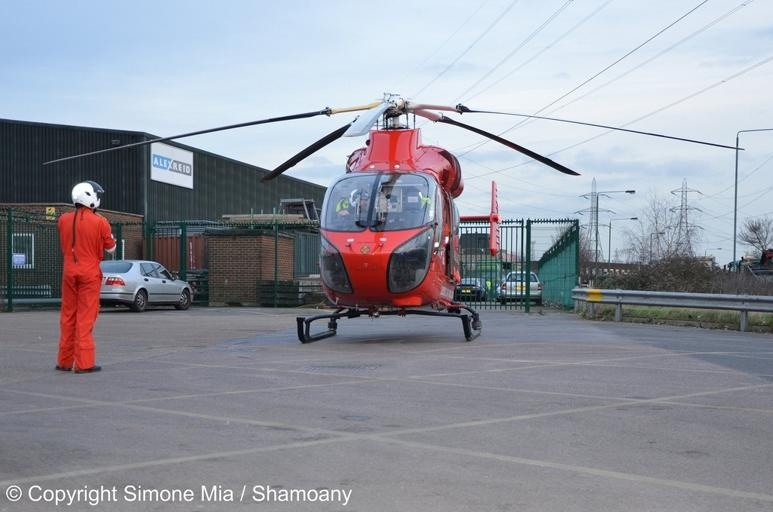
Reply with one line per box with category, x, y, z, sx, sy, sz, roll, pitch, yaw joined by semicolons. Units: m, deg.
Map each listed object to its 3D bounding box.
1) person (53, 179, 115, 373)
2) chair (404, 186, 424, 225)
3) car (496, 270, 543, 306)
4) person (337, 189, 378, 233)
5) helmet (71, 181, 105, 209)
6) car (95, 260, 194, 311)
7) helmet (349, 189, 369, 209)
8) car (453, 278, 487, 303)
person;-4.355;0.304;12.578;0.825;2.689;1.133;-1;6;-16
chair;0.533;-0.874;15.594;0.376;0.656;0.396;-3;7;-28
car;4.891;1.160;31.860;1.329;0.803;2.686;0;3;4
person;-0.495;-0.821;15.666;0.610;0.715;0.434;-3;-16;25
helmet;-4.436;-0.908;13.002;0.538;0.397;0.393;-6;7;-34
car;-7.345;0.876;26.704;1.679;1.058;3.262;1;2;23
helmet;-0.540;-0.996;15.741;0.314;0.359;0.376;1;-25;-7
car;3.026;1.212;30.629;1.001;0.660;2.066;0;4;12
